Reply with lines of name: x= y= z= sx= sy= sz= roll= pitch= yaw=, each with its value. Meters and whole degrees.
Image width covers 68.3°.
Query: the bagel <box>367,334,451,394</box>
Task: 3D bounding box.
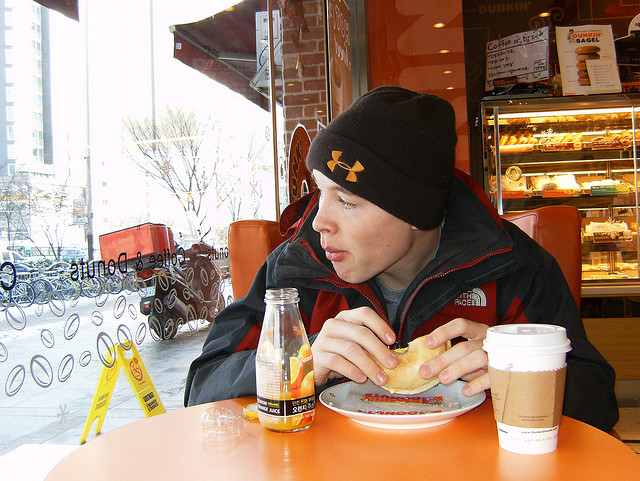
bagel: x=0.222 y=0.312 z=1.171 sx=0.202 sy=0.159 sz=0.072 roll=-4 pitch=7 yaw=6

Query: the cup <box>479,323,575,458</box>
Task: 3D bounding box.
cup: x=0.433 y=0.306 z=1.114 sx=0.223 sy=0.308 sz=0.221 roll=-1 pitch=1 yaw=0

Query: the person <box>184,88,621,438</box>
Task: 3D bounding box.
person: x=0.258 y=0.074 z=1.649 sx=1.313 sy=1.184 sz=0.808 roll=3 pitch=9 yaw=18
